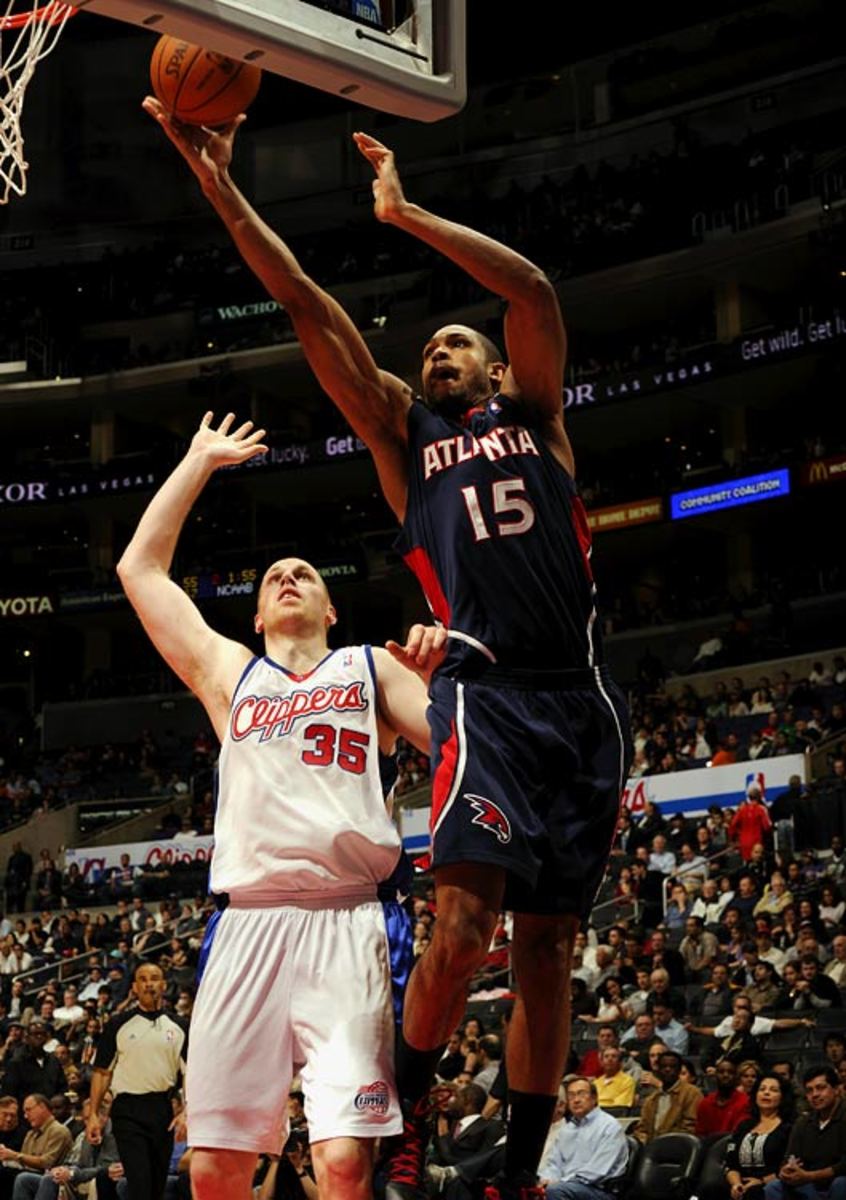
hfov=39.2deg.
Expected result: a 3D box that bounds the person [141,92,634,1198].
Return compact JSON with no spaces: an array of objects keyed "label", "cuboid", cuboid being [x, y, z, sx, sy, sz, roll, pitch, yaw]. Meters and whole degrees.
[{"label":"person","cuboid":[0.044,0.022,2.637,0.636,2.478,0.688,-9,-7,40]}]
